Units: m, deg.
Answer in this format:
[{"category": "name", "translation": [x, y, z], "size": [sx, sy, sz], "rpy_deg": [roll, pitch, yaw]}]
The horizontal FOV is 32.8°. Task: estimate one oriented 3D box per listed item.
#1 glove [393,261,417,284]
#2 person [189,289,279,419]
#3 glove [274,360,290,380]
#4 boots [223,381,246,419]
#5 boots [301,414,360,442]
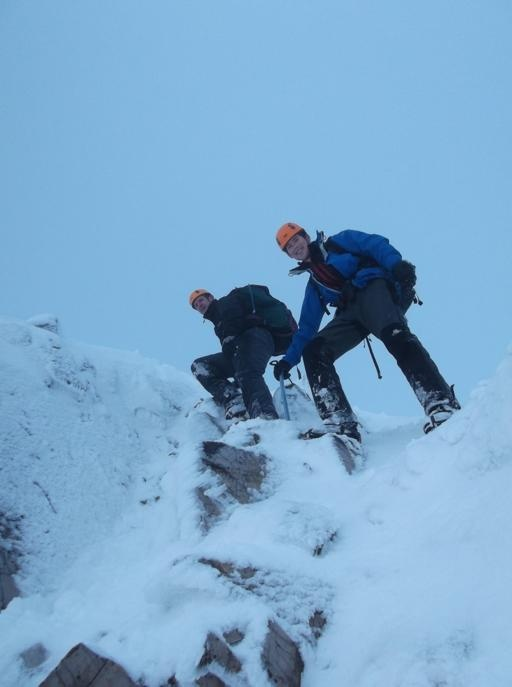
[{"category": "glove", "translation": [1.166, -0.556, 6.788], "size": [0.151, 0.190, 0.236], "rpy_deg": [-14, 1, -7]}, {"category": "person", "translation": [-0.163, 0.147, 8.446], "size": [0.631, 0.513, 1.265], "rpy_deg": [5, 24, -10]}, {"category": "glove", "translation": [0.239, 0.243, 7.935], "size": [0.175, 0.214, 0.104], "rpy_deg": [-1, -6, 44]}, {"category": "boots", "translation": [-0.218, 0.565, 8.484], "size": [0.207, 0.164, 0.575], "rpy_deg": [1, 19, -2]}, {"category": "boots", "translation": [0.556, 0.700, 6.642], "size": [0.426, 0.185, 0.614], "rpy_deg": [-12, 1, 6]}]
